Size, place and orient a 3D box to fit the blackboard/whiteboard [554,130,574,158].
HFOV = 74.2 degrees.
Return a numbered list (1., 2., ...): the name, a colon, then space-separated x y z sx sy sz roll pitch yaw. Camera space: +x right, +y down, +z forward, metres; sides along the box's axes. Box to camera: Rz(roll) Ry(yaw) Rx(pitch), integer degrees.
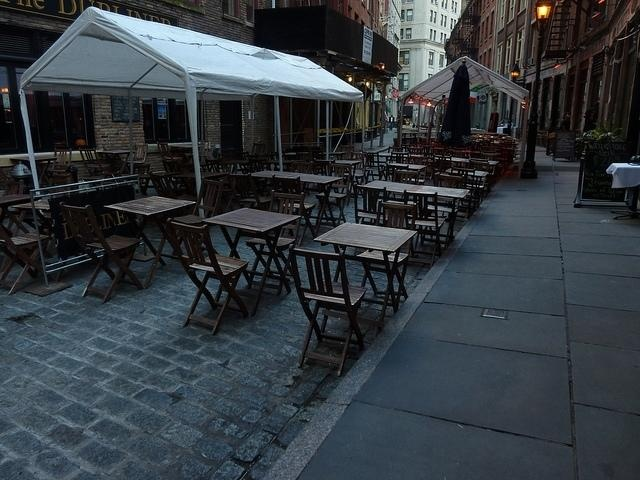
1. blackboard/whiteboard: 10.223 -3.906 17.531 1.101 1.121 0.592 -12 19 -27
